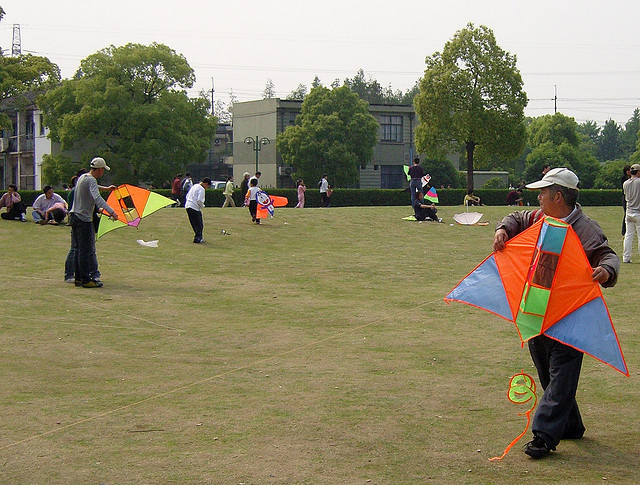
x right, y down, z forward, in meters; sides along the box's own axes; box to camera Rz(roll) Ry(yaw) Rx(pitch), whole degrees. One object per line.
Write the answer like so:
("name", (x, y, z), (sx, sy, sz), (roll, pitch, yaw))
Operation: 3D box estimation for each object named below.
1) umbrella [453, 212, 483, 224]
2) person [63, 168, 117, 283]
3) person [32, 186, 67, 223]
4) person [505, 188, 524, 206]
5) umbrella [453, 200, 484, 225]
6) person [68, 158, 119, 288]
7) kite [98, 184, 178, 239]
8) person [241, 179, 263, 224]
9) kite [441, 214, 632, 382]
("umbrella", (4.112, -0.661, 29.861), (0.442, 0.126, 0.405), (-11, 20, -13))
("person", (-3.569, -0.311, 17.273), (0.929, 2.031, 0.751), (0, 12, -28))
("person", (-6.572, -0.924, 26.081), (0.907, 0.766, 0.594), (-7, 11, 2))
("person", (8.386, -1.940, 46.697), (0.901, 0.540, 1.342), (-3, -8, -13))
("umbrella", (4.836, -0.966, 35.029), (1.116, 0.643, 1.028), (-2, 11, 3))
("person", (-3.527, -0.278, 16.700), (0.694, 2.045, 0.656), (-4, 16, -16))
("kite", (-3.919, -0.686, 21.744), (2.224, 1.002, 0.065), (-17, -1, 28))
("person", (-1.669, -1.088, 28.735), (0.702, 1.114, 0.482), (6, -4, 25))
("kite", (2.533, 0.729, 12.509), (1.942, 1.198, 0.276), (24, -1, 21))
